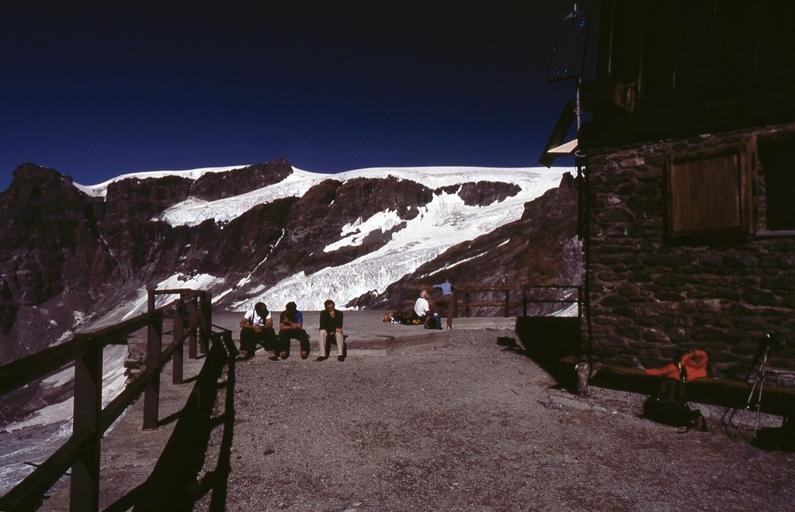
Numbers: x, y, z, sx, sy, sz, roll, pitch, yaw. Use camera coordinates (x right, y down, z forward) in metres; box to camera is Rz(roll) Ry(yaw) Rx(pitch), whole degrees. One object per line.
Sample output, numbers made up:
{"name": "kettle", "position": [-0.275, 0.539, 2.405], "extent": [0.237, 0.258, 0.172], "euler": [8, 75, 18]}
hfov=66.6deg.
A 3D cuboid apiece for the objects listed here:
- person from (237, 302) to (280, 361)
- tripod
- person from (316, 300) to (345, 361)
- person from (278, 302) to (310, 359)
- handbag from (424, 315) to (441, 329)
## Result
{"name": "person", "position": [-3.416, 1.829, 15.098], "extent": [0.906, 1.409, 1.042], "euler": [-1, -7, 8]}
{"name": "tripod", "position": [6.441, 2.328, 11.135], "extent": [0.723, 1.685, 1.165], "euler": [6, 11, 33]}
{"name": "person", "position": [-1.650, 1.804, 15.188], "extent": [0.687, 1.501, 1.188], "euler": [0, 9, -5]}
{"name": "person", "position": [-2.606, 1.825, 15.141], "extent": [0.791, 1.434, 1.057], "euler": [-1, 9, -8]}
{"name": "handbag", "position": [1.144, 2.069, 19.204], "extent": [0.537, 0.383, 0.544], "euler": [1, 9, 0]}
